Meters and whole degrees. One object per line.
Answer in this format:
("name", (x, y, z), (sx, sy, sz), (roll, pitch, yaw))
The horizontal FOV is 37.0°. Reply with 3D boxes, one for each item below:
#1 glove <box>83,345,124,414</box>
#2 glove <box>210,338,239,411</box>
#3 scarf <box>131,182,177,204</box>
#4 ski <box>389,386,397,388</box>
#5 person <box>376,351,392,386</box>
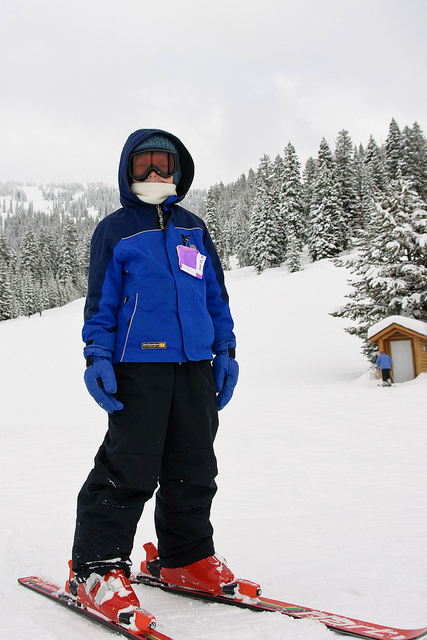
("glove", (-0.522, 0.260, 2.918), (0.185, 0.312, 0.095), (-23, -22, 29))
("glove", (0.075, 0.272, 3.360), (0.203, 0.326, 0.106), (1, -2, -1))
("scarf", (-0.316, -0.663, 3.310), (0.151, 0.067, 0.124), (1, 5, 11))
("ski", (3.542, 1.300, 12.577), (0.078, 0.048, 0.299), (4, -2, -8))
("person", (3.602, 1.014, 13.491), (0.291, 0.568, 0.850), (-1, 0, 14))
